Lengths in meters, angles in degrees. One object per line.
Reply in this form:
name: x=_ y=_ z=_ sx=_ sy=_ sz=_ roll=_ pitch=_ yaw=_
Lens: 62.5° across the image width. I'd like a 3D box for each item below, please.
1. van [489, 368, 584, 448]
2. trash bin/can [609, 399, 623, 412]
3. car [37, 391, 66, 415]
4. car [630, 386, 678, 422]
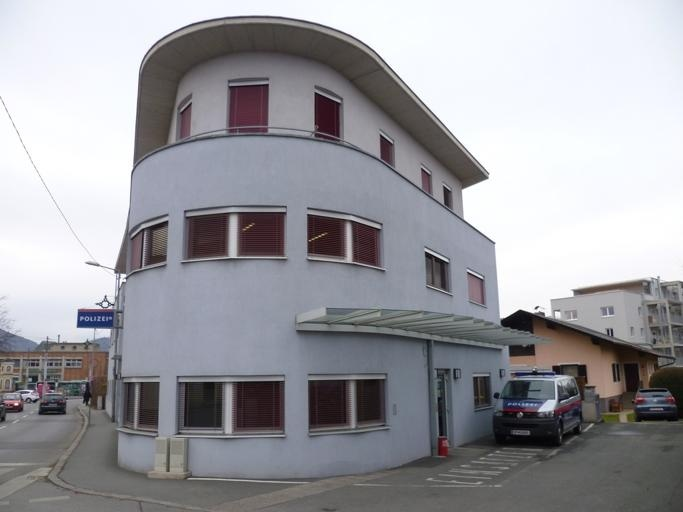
van: x=7.196 y=5.754 z=20.821 sx=2.327 sy=2.739 sz=3.846 roll=15 pitch=5 yaw=30
trash bin/can: x=18.595 y=10.197 z=38.236 sx=0.425 sy=0.769 sz=1.097 roll=-9 pitch=-13 yaw=44
car: x=-21.575 y=11.432 z=42.250 sx=1.653 sy=1.763 sz=2.360 roll=10 pitch=5 yaw=-32
car: x=16.778 y=7.975 z=30.398 sx=1.344 sy=1.129 sz=2.407 roll=-3 pitch=-8 yaw=18
